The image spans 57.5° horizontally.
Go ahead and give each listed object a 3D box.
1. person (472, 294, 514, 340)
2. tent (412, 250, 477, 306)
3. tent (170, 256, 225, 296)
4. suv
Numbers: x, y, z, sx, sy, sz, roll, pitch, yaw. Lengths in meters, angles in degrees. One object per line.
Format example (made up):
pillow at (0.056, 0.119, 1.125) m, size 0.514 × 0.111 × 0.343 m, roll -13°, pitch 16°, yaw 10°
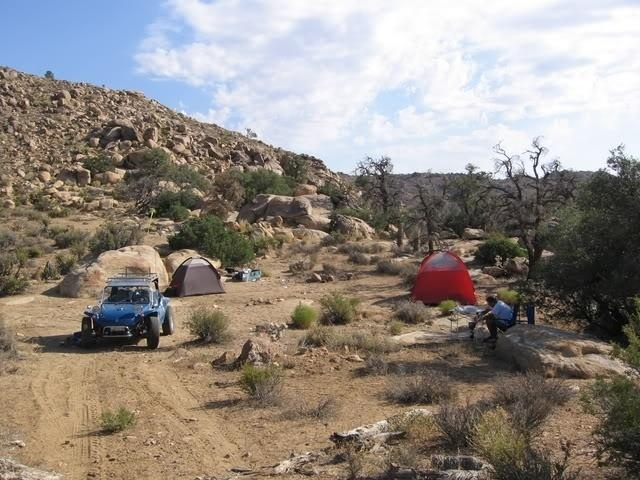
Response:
person at (4.988, 2.299, 16.971) m, size 0.792 × 1.310 × 1.424 m, roll 1°, pitch 0°, yaw -36°
tent at (4.541, 1.263, 21.836) m, size 3.079 × 1.612 × 2.929 m, roll -4°, pitch 2°, yaw -42°
tent at (-4.990, 1.297, 23.309) m, size 2.275 × 1.304 × 2.271 m, roll 0°, pitch 7°, yaw -22°
suv at (-5.579, 2.047, 17.559) m, size 1.641 × 1.756 × 2.789 m, roll -1°, pitch -10°, yaw 1°
